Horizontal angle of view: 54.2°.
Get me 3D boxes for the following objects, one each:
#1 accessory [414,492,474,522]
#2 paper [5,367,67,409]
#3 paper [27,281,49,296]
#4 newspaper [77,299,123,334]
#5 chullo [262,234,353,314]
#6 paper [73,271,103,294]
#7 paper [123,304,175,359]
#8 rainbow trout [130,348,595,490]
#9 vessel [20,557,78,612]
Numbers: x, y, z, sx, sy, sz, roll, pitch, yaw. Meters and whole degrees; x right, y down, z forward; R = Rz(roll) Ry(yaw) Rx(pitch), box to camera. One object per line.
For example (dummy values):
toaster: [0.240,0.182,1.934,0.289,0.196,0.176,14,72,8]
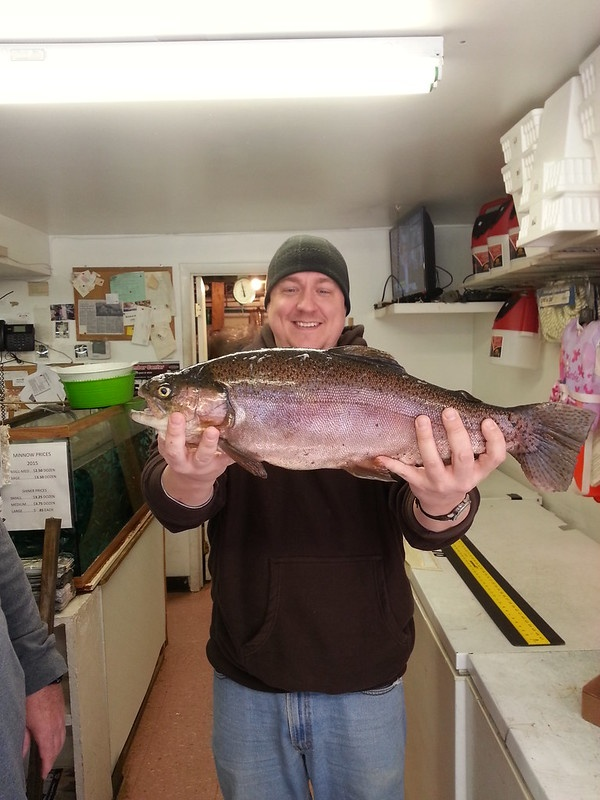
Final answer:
accessory: [0.299,0.221,1.245,0.067,0.027,0.075,-35,24,-34]
paper: [-1.504,-0.061,3.300,0.696,0.260,0.025,4,3,40]
paper: [-1.711,-0.720,3.789,0.112,0.098,0.026,1,8,-8]
newspaper: [-1.333,-0.558,3.830,0.238,0.187,0.012,1,8,-10]
chullo: [0.022,-0.348,1.595,0.193,0.145,0.189,4,-21,2]
paper: [-1.389,-0.768,3.790,0.151,0.149,0.044,-35,8,7]
paper: [-1.004,-0.474,3.859,0.345,0.324,0.078,2,4,-3]
rainbow trout: [0.125,0.039,1.131,0.877,0.283,0.156,-2,8,-5]
vessel: [-0.802,0.548,1.838,0.050,0.116,0.152,-13,-18,40]
